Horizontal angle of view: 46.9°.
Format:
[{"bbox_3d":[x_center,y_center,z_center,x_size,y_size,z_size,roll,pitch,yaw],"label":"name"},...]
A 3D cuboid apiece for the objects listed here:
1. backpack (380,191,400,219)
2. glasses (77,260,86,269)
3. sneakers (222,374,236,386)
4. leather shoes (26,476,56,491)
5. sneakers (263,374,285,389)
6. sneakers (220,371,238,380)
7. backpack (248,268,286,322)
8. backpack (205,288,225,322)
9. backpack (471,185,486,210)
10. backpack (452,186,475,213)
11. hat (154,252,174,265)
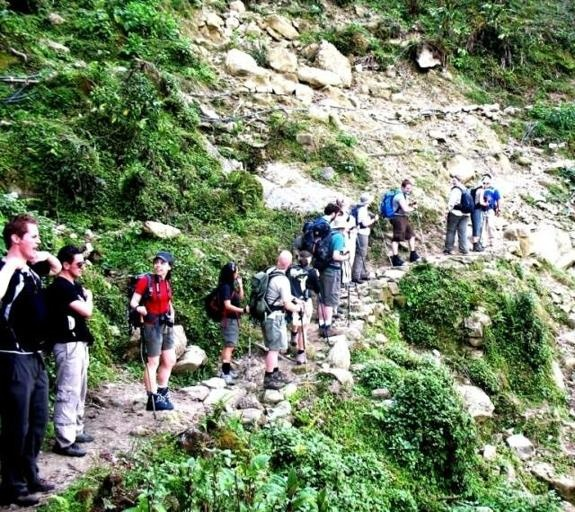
[{"bbox_3d":[2.294,-1.117,15.129,0.412,0.929,0.583,1,3,3],"label":"backpack"},{"bbox_3d":[-2.793,0.114,9.018,0.124,0.049,0.133,13,17,13],"label":"glasses"},{"bbox_3d":[-0.970,2.054,11.036,0.109,0.101,0.218,0,1,-26],"label":"sneakers"},{"bbox_3d":[-2.917,2.733,7.882,0.320,0.170,0.121,6,33,-28],"label":"leather shoes"},{"bbox_3d":[-0.208,2.045,10.806,0.281,0.239,0.201,-3,14,-7],"label":"sneakers"},{"bbox_3d":[-0.978,2.017,11.103,0.134,0.110,0.233,-4,2,-36],"label":"sneakers"},{"bbox_3d":[-0.367,0.615,10.740,0.483,0.756,0.323,6,-2,1],"label":"backpack"},{"bbox_3d":[-1.158,0.786,10.801,0.224,0.483,0.388,7,-2,-42],"label":"backpack"},{"bbox_3d":[4.511,-1.402,15.642,0.330,0.758,0.525,-1,6,5],"label":"backpack"},{"bbox_3d":[4.108,-1.283,15.425,0.549,0.628,0.393,9,14,43],"label":"backpack"},{"bbox_3d":[-1.711,0.036,9.353,0.318,0.183,0.207,8,-3,-37],"label":"hat"}]
